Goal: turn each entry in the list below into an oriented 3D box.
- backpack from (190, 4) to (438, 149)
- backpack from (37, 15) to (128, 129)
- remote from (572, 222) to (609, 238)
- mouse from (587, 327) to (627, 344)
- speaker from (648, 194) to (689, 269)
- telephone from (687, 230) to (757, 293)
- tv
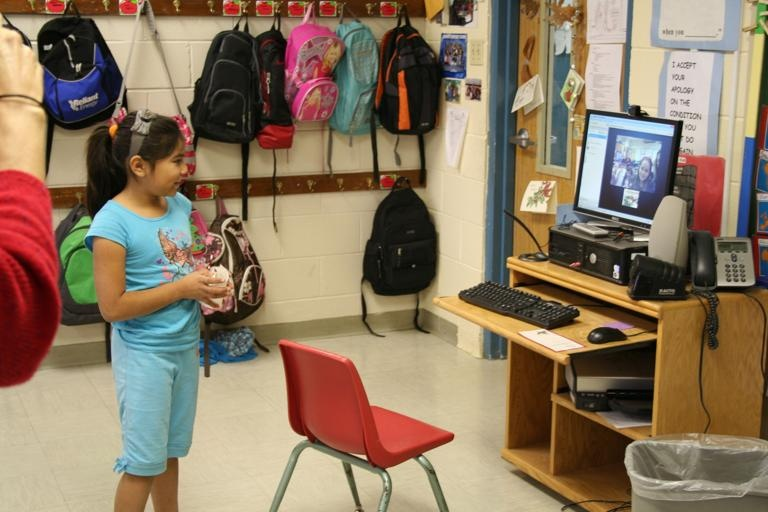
[{"bbox_3d":[-0.543,-1.295,4.419,1.121,0.686,0.313,-6,29,-24],"label":"backpack"},{"bbox_3d":[-1.970,-1.171,3.987,0.338,0.648,0.483,37,48,24],"label":"backpack"},{"bbox_3d":[0.952,-0.130,2.886,0.072,0.025,0.123,-7,19,-21],"label":"remote"},{"bbox_3d":[0.900,0.311,2.494,0.126,0.043,0.070,-8,15,-18],"label":"mouse"},{"bbox_3d":[1.172,-0.097,2.604,0.141,0.308,0.075,13,12,9],"label":"speaker"},{"bbox_3d":[1.391,0.023,2.576,0.251,0.246,0.096,-1,-9,-2],"label":"telephone"},{"bbox_3d":[1.129,-0.403,2.900,0.044,0.520,0.551,-9,21,-26],"label":"tv"}]
